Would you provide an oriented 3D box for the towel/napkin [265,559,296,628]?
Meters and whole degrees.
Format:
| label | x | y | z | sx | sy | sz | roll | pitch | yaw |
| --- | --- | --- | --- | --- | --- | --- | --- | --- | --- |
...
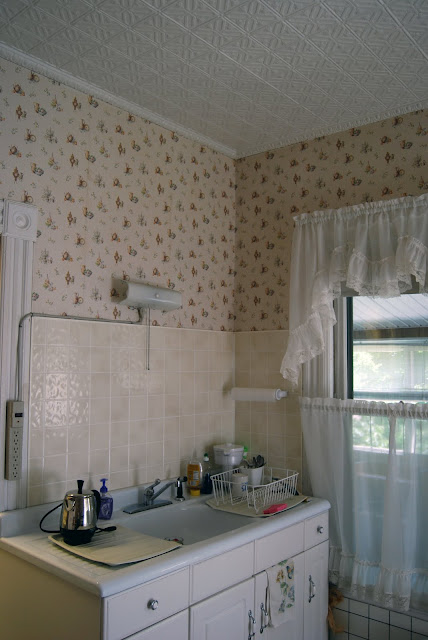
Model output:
| label | x | y | z | sx | sy | sz | roll | pitch | yaw |
| --- | --- | --- | --- | --- | --- | --- | --- | --- | --- |
| towel/napkin | 0.274 | 1.091 | 1.990 | 0.019 | 0.225 | 0.186 | -12 | -18 | 39 |

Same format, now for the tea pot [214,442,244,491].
| label | x | y | z | sx | sy | sz | roll | pitch | yaw |
| --- | --- | --- | --- | --- | --- | --- | --- | --- | --- |
| tea pot | 0.064 | 0.741 | 2.572 | 0.148 | 0.202 | 0.169 | 1 | -7 | -1 |

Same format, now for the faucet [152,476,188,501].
| label | x | y | z | sx | sy | sz | roll | pitch | yaw |
| --- | --- | --- | --- | --- | --- | --- | --- | --- | --- |
| faucet | -0.209 | 0.776 | 2.272 | 0.097 | 0.090 | 0.258 | -2 | -8 | 33 |

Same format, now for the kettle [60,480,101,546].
| label | x | y | z | sx | sy | sz | roll | pitch | yaw |
| --- | --- | --- | --- | --- | --- | --- | --- | --- | --- |
| kettle | -0.430 | 0.628 | 1.645 | 0.101 | 0.182 | 0.173 | -6 | -14 | 28 |
